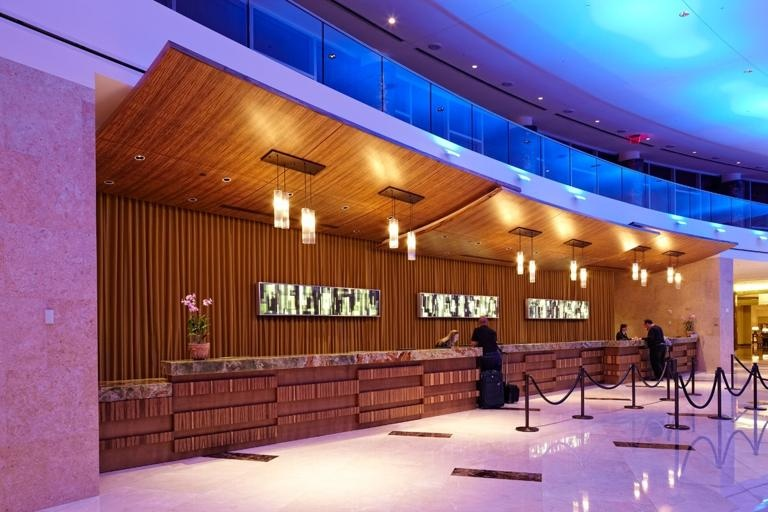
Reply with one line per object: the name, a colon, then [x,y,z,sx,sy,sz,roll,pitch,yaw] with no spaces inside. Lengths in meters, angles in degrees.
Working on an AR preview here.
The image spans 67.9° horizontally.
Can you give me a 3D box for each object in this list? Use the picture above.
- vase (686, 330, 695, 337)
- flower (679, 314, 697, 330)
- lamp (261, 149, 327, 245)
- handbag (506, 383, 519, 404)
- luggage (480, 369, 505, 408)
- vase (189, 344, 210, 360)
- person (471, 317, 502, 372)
vase: [10.584,2.662,19.580,0.263,0.179,0.208,2,-8,11]
flower: [10.631,2.294,19.881,0.577,0.510,0.545,4,-5,-26]
lamp: [-1.188,-0.787,8.390,0.918,1.120,1.112,-10,11,13]
handbag: [2.703,2.891,11.992,0.207,0.439,0.440,-1,-4,20]
luggage: [2.182,2.677,11.549,0.470,0.746,0.202,1,-3,-13]
vase: [-2.599,1.332,8.029,0.264,0.235,0.226,1,-4,-22]
person: [2.128,1.812,11.805,0.563,1.095,0.440,-1,-3,8]
